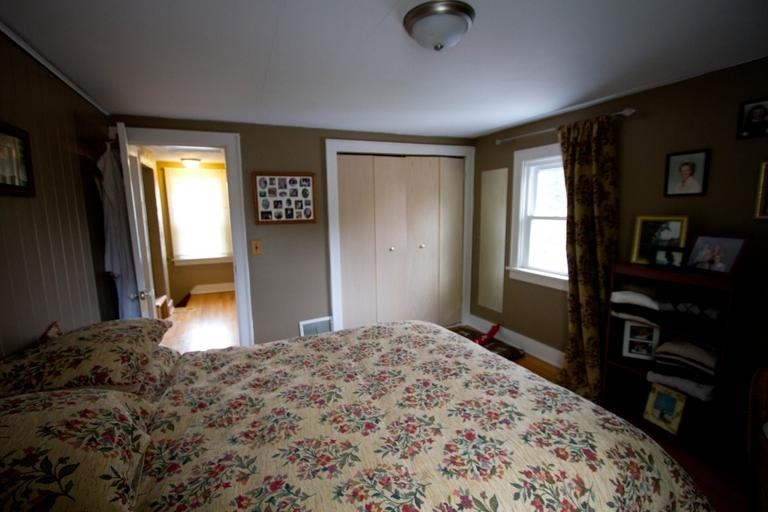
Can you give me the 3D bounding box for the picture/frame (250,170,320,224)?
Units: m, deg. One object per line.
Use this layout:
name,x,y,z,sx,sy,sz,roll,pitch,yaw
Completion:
picture/frame,-1.038,-0.608,5.101,0.519,0.467,0.043,-4,10,-22

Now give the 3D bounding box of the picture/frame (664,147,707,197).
picture/frame,2.426,-0.651,4.060,0.302,0.422,0.032,2,-21,34

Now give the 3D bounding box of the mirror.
mirror,1.240,-0.190,5.783,0.033,1.614,0.495,-5,10,-24
